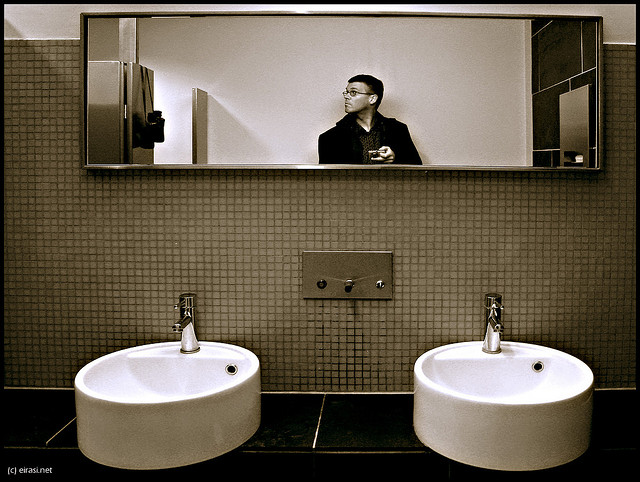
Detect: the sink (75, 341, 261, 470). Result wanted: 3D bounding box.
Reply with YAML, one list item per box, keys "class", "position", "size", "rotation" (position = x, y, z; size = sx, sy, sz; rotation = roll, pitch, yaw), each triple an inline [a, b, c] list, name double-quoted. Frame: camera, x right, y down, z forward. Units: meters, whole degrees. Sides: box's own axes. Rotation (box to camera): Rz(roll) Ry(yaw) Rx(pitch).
- class: "sink"
  position: [-0.518, 0.557, 2.350]
  size: [0.616, 0.324, 0.380]
  rotation: [-2, 6, -7]

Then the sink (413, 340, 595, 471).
- class: "sink"
  position: [0.631, 0.558, 2.347]
  size: [0.585, 0.330, 0.427]
  rotation: [1, 6, 21]
